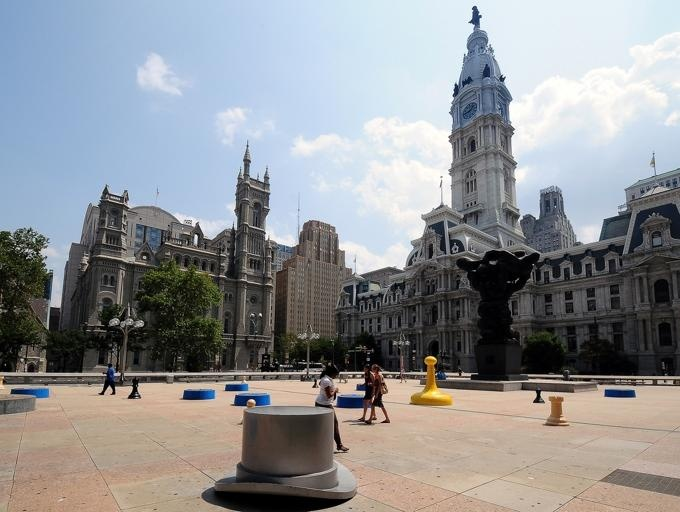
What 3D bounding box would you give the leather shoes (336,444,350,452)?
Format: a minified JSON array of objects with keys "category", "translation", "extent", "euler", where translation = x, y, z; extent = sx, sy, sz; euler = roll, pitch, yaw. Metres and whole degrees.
[{"category":"leather shoes","translation":[0.071,5.416,15.433],"extent":[0.313,0.145,0.185],"euler":[-3,-11,4]}]
